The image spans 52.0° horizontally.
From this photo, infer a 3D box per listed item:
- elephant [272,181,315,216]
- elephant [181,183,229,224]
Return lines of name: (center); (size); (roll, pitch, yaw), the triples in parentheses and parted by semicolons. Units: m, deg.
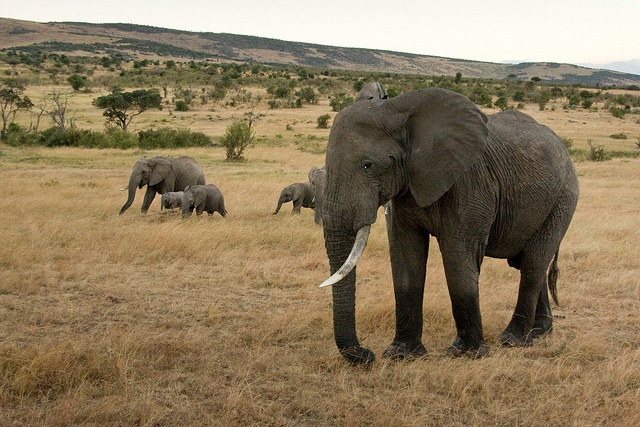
elephant: (-0.554, -0.383, 18.580); (1.574, 0.919, 0.690); (-2, 6, -37)
elephant: (-3.198, -0.296, 17.777); (0.666, 0.923, 1.584); (6, 7, 40)
